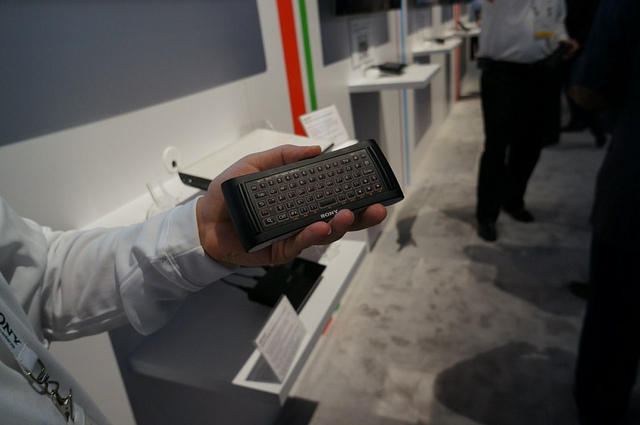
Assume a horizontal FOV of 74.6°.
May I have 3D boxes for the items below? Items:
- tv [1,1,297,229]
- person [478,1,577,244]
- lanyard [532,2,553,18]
[{"bbox_3d":[-0.482,-0.252,1.123,0.022,0.387,0.656,11,24,38],"label":"tv"},{"bbox_3d":[0.846,-0.363,1.820,0.325,0.959,0.379,2,36,16],"label":"person"},{"bbox_3d":[0.846,-0.770,1.608,0.079,0.051,0.011,22,45,37],"label":"lanyard"}]
